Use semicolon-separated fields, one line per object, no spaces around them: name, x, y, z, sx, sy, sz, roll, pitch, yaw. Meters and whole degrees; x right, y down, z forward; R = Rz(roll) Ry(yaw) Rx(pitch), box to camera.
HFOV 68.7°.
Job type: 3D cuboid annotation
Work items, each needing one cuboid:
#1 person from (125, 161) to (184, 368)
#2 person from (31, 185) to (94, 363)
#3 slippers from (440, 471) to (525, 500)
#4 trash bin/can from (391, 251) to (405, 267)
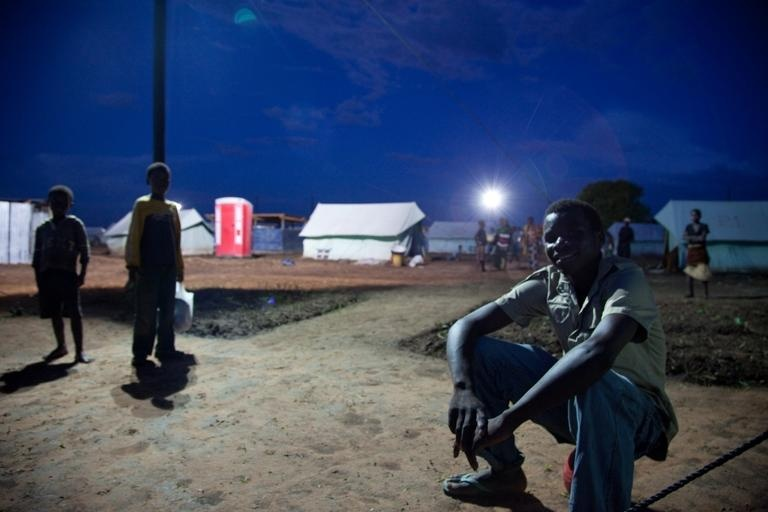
person;-2.612;0.093;6.398;0.366;2.268;0.601;3;7;15
person;-3.660;0.200;6.444;0.744;1.977;0.499;4;7;17
slippers;0.737;1.743;4.408;0.668;0.251;0.235;2;-2;5
trash bin/can;0.522;0.118;23.371;0.554;0.437;0.549;3;11;23
